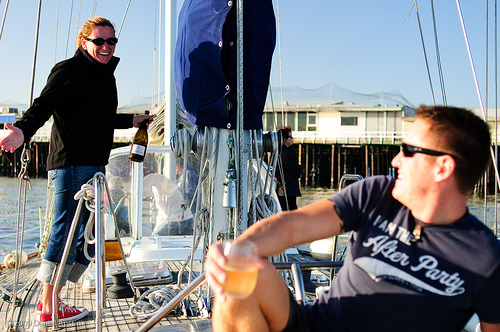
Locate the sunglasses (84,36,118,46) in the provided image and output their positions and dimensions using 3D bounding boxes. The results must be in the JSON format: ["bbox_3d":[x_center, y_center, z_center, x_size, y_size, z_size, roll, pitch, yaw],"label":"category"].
[{"bbox_3d":[-1.277,-1.066,5.433,0.278,0.103,0.120,3,-3,-21],"label":"sunglasses"}]

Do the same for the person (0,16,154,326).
[{"bbox_3d":[-1.502,0.011,5.384,1.088,2.581,0.290,3,-3,-32],"label":"person"}]

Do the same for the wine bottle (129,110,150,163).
[{"bbox_3d":[-0.987,-0.267,5.665,0.125,0.457,0.182,-2,-5,2],"label":"wine bottle"}]
